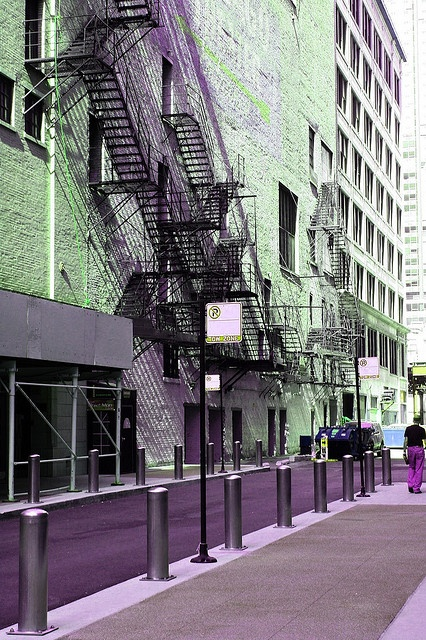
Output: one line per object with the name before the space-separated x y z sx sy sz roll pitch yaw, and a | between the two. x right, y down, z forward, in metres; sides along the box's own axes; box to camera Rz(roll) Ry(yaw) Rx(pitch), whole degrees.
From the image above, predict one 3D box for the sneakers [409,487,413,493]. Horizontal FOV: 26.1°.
sneakers | 3.988 3.486 18.595 0.065 0.106 0.147 0 7 5
